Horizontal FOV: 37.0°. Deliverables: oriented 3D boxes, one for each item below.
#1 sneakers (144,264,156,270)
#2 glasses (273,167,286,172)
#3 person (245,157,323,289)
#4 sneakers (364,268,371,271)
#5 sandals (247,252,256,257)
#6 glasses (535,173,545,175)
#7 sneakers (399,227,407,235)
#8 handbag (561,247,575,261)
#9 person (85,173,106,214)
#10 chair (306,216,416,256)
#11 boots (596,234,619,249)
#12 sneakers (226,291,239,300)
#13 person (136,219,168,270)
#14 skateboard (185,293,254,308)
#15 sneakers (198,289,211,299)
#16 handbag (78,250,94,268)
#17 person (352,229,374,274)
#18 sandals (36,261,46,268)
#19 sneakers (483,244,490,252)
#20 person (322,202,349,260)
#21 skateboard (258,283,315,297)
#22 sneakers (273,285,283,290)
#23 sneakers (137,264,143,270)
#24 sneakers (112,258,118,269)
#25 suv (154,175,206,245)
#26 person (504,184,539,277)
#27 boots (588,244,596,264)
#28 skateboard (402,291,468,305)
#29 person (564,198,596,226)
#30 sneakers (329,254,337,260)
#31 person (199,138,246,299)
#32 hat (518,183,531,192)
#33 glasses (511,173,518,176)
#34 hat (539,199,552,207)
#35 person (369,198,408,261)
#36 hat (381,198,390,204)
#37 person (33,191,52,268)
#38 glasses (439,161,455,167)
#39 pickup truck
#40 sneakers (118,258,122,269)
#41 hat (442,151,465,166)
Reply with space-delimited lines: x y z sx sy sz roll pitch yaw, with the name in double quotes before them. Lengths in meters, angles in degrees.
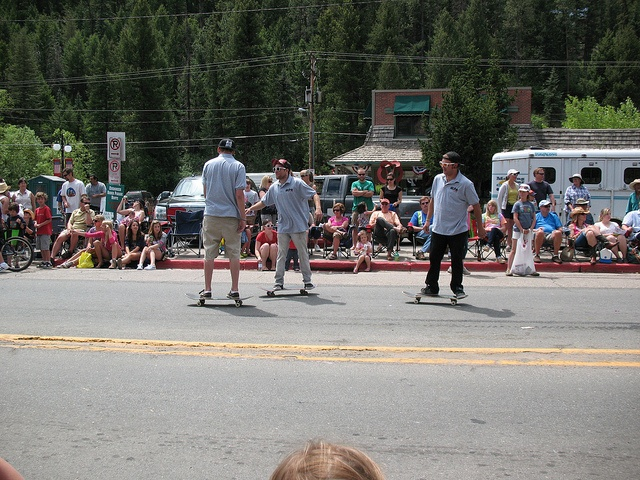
"sneakers" -4.486 0.712 25.279 0.275 0.108 0.103 -1 0 1
"glasses" -0.875 -1.596 21.662 0.186 0.051 0.170 3 -2 -19
"person" -0.710 -0.321 21.792 1.171 2.971 0.625 0 4 -5
"sneakers" 1.265 0.785 25.275 0.140 0.088 0.171 0 4 -7
"sandals" -1.954 0.414 27.462 0.143 0.129 0.096 -1 8 3
"glasses" 5.938 -1.773 25.932 0.248 0.085 0.389 1 4 9
"sneakers" 2.315 -0.271 26.443 0.246 0.079 0.172 -3 -12 -4
"handbag" 6.624 0.370 25.565 0.332 0.403 0.239 8 16 30
"person" -6.744 -1.146 28.569 0.687 1.449 0.484 -1 3 -4
"chair" 0.671 0.006 27.224 1.308 0.562 2.211 4 9 30
"boots" 7.598 0.049 25.385 0.718 0.455 0.230 -8 11 12
"sneakers" -1.882 1.186 20.617 0.270 0.142 0.133 4 1 8
"person" -4.533 0.127 25.532 0.575 1.244 0.749 1 4 5
"skateboard" -2.297 1.278 20.758 1.688 0.258 0.468 1 13 -2
"sneakers" -2.491 1.164 20.749 0.268 0.186 0.268 0 4 -10
"handbag" -6.333 0.548 25.746 0.356 0.616 0.650 -1 -2 6
"person" 1.132 0.296 25.399 0.488 1.069 1.017 1 4 3
"sandals" -7.605 0.664 25.942 0.299 0.115 0.168 2 -1 8
"sneakers" 4.711 0.226 27.051 0.120 0.220 0.326 -2 15 2
"person" 0.397 -0.235 26.497 0.650 1.481 0.781 3 4 36
"skateboard" -0.746 1.130 21.727 1.364 0.213 0.396 1 21 -23
"sneakers" -0.959 1.073 21.694 0.222 0.159 0.210 0 4 -7
"sneakers" -4.766 0.705 25.287 0.131 0.124 0.183 0 4 -10
"sneakers" -5.485 0.632 25.528 0.244 0.265 0.675 0 -4 -9
"suv" -4.409 -1.240 30.054 1.596 1.372 2.854 -1 0 -6
"person" 5.110 -0.236 24.149 0.731 2.280 0.589 1 4 5
"boots" 7.262 0.379 25.413 0.200 0.436 0.798 1 4 16
"skateboard" 2.389 1.241 20.999 1.693 0.254 0.437 0 13 11
"person" 7.233 -0.784 26.723 0.756 0.782 0.822 -2 1 -37
"sneakers" 0.344 0.456 26.278 0.248 0.136 0.300 0 3 -2
"person" -2.134 -0.466 20.857 0.962 3.442 0.821 0 4 -5
"hat" 5.182 -1.306 24.230 0.233 0.157 0.320 0 7 16
"glasses" 5.118 -1.708 25.122 0.114 0.065 0.029 -2 8 -32
"hat" 6.122 -0.975 26.000 0.362 0.205 0.352 2 4 27
"person" 1.830 -0.310 26.570 0.523 1.649 0.917 -2 5 -39
"hat" 1.815 -1.080 26.669 0.252 0.153 0.438 1 3 2
"person" -7.620 -0.304 26.285 0.422 1.976 0.972 -1 4 -17
"glasses" 2.783 -1.643 20.855 0.340 0.124 0.153 2 4 24
"pickup truck" 1.557 -1.353 30.829 3.440 1.287 1.492 1 4 -1
"sneakers" -5.334 0.634 25.489 0.101 0.270 0.126 -1 -14 -5
"hat" 2.991 -1.786 20.925 0.484 0.244 0.326 5 17 -33
